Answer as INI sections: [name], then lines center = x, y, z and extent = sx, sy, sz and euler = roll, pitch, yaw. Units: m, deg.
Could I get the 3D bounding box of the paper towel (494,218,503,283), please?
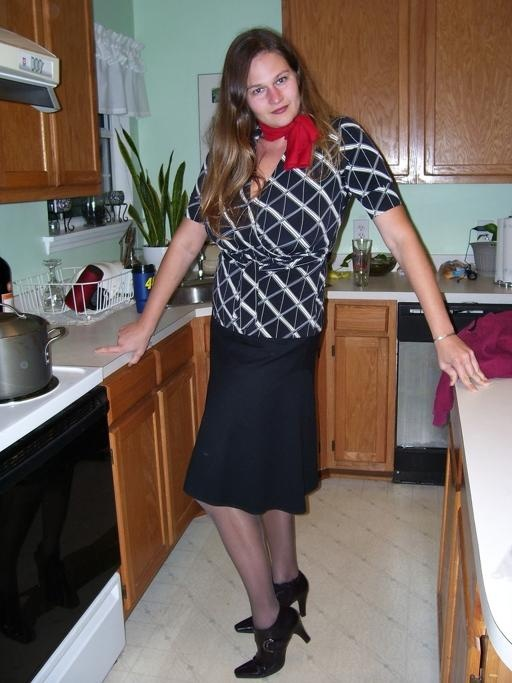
[paper towel]
center = 1.140, -0.415, 2.399
extent = 0.030, 0.298, 0.085
euler = 3, 10, 25

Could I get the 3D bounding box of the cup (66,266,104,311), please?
[cup]
center = -0.620, -0.203, 1.861
extent = 0.099, 0.190, 0.042
euler = 32, -16, -34

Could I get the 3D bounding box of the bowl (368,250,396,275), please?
[bowl]
center = 0.668, -0.421, 2.720
extent = 0.117, 0.099, 0.136
euler = 5, 12, 16

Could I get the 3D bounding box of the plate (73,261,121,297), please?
[plate]
center = -0.568, -0.243, 1.897
extent = 0.108, 0.057, 0.165
euler = 7, 17, -29

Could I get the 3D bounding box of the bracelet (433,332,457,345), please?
[bracelet]
center = 0.396, -0.006, 1.076
extent = 0.041, 0.023, 0.035
euler = 1, 10, 13

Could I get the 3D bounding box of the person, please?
[person]
center = 0.070, 0.126, 1.333
extent = 0.938, 1.672, 0.319
euler = 3, 11, 26
